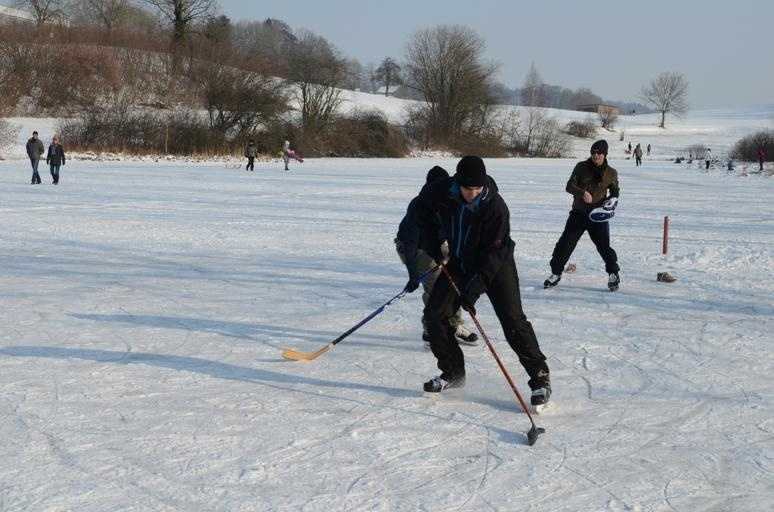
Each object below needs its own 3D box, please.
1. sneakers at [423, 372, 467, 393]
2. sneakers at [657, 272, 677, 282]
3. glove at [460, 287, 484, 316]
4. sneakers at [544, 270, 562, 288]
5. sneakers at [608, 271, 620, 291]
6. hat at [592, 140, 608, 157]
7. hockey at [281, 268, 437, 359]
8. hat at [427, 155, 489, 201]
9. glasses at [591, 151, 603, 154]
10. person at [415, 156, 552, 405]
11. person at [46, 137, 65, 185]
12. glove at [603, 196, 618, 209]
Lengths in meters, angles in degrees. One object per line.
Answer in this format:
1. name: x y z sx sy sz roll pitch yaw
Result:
1. sneakers: 0.556 1.218 7.260 0.488 0.175 0.158 -3 6 -14
2. sneakers: 3.817 0.284 10.253 0.110 0.113 0.295 -7 6 -42
3. glove: 0.801 0.417 6.872 0.101 0.246 0.192 -11 29 -41
4. sneakers: 2.247 0.303 10.014 0.364 0.153 0.120 -26 21 -32
5. sneakers: 3.011 0.329 9.871 0.184 0.228 0.111 -3 -11 38
6. hat: 2.791 -1.437 9.718 0.204 0.199 0.273 7 15 35
7. hockey: -0.076 0.522 7.934 2.284 0.244 0.253 -32 -1 -17
8. hat: 0.664 -0.713 6.637 0.326 0.378 0.409 3 -9 4
9. glasses: 2.718 -1.368 9.659 0.077 0.023 0.080 3 2 35
10. person: 0.893 0.216 6.977 1.402 2.332 0.586 6 16 16
11. person: -9.071 -2.669 20.515 0.415 1.310 2.017 -5 16 -24
12. glove: 2.933 -0.707 9.708 0.258 0.149 0.131 -10 19 -38
